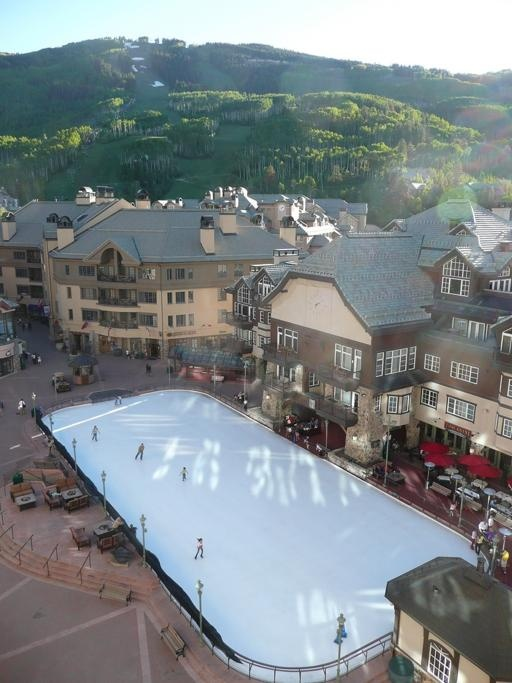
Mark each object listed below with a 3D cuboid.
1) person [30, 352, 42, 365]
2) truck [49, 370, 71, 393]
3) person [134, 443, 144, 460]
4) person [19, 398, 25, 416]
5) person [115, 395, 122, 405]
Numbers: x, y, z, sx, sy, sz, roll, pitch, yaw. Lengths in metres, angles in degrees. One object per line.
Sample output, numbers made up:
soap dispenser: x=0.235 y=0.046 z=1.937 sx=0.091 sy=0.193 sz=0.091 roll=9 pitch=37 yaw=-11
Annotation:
person: x=-28.076 y=2.241 z=64.350 sx=0.958 sy=1.161 sz=0.772 roll=20 pitch=23 yaw=38
truck: x=-21.340 y=4.308 z=55.564 sx=1.482 sy=1.465 sz=4.098 roll=0 pitch=12 yaw=-17
person: x=-9.146 y=8.465 z=39.478 sx=0.655 sy=1.259 sz=1.691 roll=-3 pitch=12 yaw=-15
person: x=-22.477 y=6.325 z=48.371 sx=0.707 sy=1.272 sz=0.967 roll=-6 pitch=13 yaw=-28
person: x=-14.012 y=6.023 z=51.405 sx=0.810 sy=1.009 sz=0.650 roll=5 pitch=8 yaw=19
